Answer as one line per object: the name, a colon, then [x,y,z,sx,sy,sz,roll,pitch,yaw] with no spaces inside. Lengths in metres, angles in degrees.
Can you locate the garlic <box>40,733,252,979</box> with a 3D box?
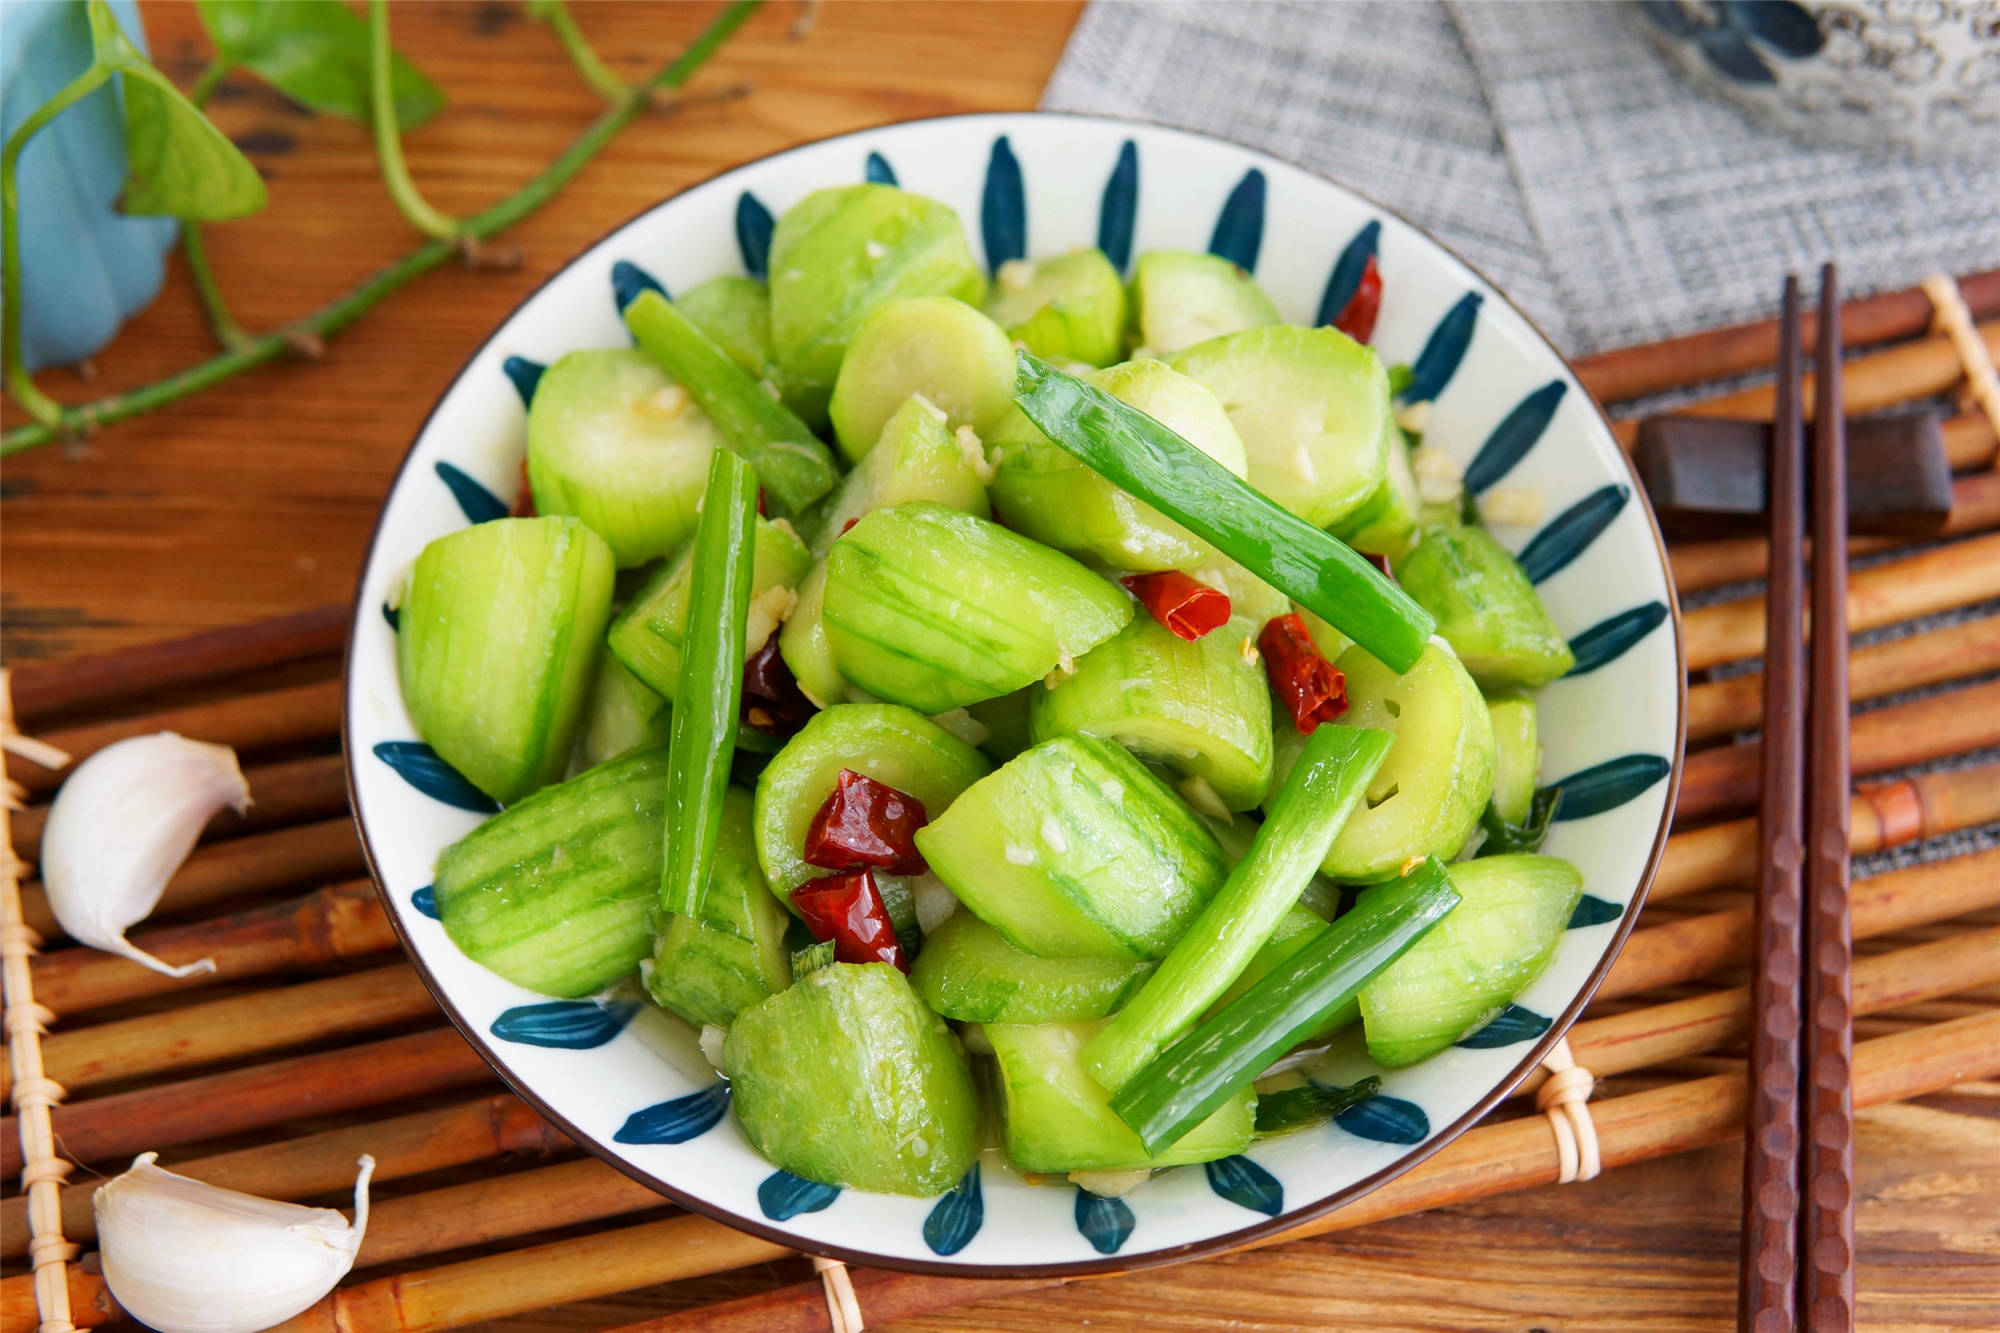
garlic: [-1.191,0.243,2.705,0.326,0.087,0.282,49,66,-16]

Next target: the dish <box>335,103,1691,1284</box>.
dish: [-0.023,0.151,3.025,1.702,1.442,1.327,-5,61,-3]
